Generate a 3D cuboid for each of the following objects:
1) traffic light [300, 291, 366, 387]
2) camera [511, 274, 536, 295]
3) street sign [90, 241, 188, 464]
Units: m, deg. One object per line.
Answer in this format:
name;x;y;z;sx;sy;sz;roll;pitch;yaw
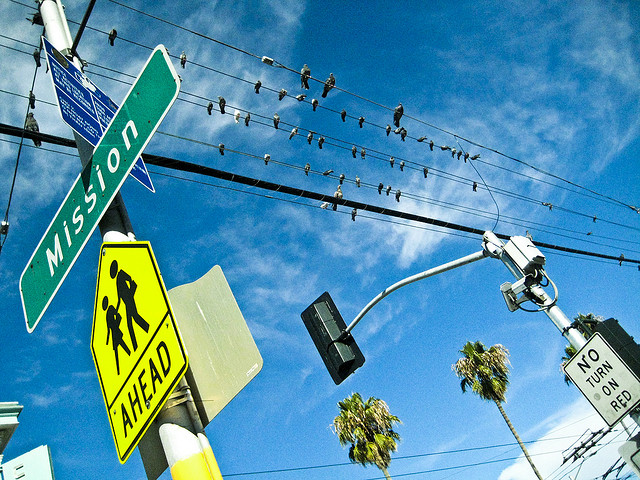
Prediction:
traffic light;0.212;1.700;9.260;0.704;1.516;0.426;-37;-42;18
camera;3.113;0.665;8.275;0.389;0.188;0.130;-35;-41;11
street sign;-1.371;0.908;4.174;0.920;1.832;0.143;-34;-34;20
